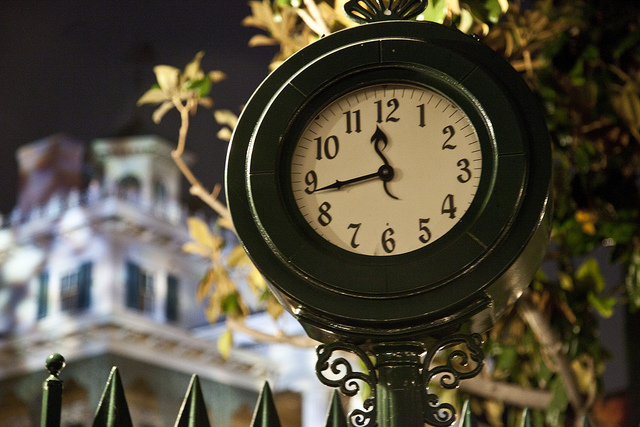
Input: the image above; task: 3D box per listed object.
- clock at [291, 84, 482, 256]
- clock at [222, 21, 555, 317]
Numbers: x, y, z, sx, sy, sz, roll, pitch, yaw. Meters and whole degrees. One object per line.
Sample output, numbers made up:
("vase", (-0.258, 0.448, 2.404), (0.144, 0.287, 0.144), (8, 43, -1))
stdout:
("clock", (0.273, -0.135, 5.552), (0.539, 0.543, 0.038), (-11, -16, -2))
("clock", (0.256, -0.151, 5.623), (1.120, 1.139, 0.346), (-9, -16, -1))
